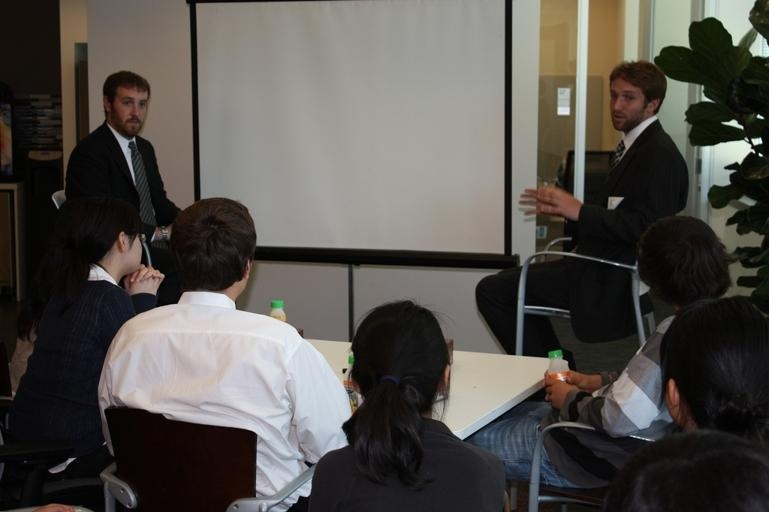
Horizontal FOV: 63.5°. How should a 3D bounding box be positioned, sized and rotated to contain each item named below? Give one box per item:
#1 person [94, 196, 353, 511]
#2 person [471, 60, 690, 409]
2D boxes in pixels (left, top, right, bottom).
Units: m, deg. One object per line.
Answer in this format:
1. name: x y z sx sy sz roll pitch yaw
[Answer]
1. person: -0.529 0.335 1.967 0.784 1.018 0.437 4 7 21
2. person: 1.235 -0.049 3.970 1.145 2.268 0.929 5 5 9
